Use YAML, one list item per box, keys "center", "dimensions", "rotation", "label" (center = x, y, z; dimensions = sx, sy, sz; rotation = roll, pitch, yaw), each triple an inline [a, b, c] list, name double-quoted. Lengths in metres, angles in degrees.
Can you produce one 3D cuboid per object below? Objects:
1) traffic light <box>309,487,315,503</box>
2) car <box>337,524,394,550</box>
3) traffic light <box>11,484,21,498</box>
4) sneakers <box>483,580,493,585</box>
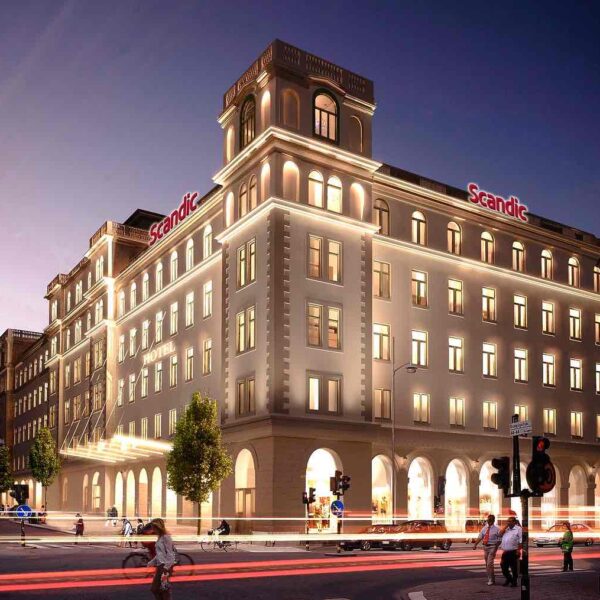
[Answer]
- center: [0.561, 9.478, 46.993]
  dimensions: [0.286, 0.756, 0.876]
  rotation: [1, -16, -3]
  label: "traffic light"
- center: [3.287, 11.201, 45.795]
  dimensions: [2.021, 0.949, 1.257]
  rotation: [14, -20, -32]
  label: "car"
- center: [-13.980, 9.381, 47.402]
  dimensions: [0.311, 0.741, 1.126]
  rotation: [6, -18, -21]
  label: "traffic light"
- center: [5.534, 8.266, 28.223]
  dimensions: [0.225, 0.146, 0.457]
  rotation: [-3, -18, 9]
  label: "sneakers"
